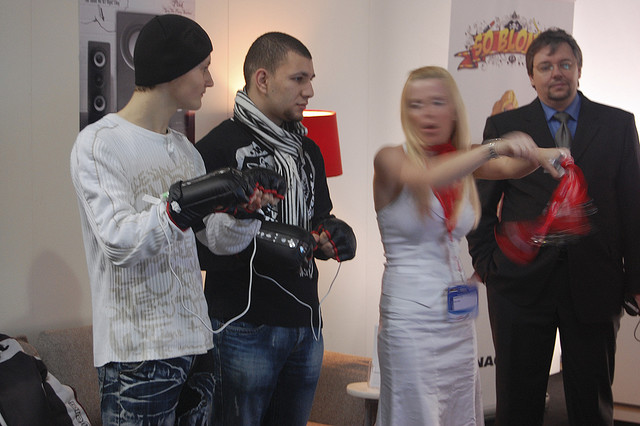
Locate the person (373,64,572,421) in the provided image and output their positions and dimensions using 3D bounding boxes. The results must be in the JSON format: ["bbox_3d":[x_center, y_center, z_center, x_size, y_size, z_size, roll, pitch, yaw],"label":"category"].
[{"bbox_3d":[0.534,0.157,2.239,0.591,1.556,0.300,-1,5,5],"label":"person"}]

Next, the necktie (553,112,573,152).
[{"bbox_3d":[1.280,-0.426,2.721,0.085,0.211,0.054,4,-8,16],"label":"necktie"}]

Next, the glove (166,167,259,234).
[{"bbox_3d":[-0.391,-0.049,1.921,0.204,0.133,0.278,-17,7,43],"label":"glove"}]

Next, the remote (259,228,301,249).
[{"bbox_3d":[-0.173,0.110,2.161,0.133,0.033,0.039,21,5,18],"label":"remote"}]

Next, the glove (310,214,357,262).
[{"bbox_3d":[0.064,0.117,2.381,0.195,0.177,0.146,-1,5,2],"label":"glove"}]

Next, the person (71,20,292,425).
[{"bbox_3d":[-0.568,0.013,1.965,0.645,1.499,0.327,-5,6,-28],"label":"person"}]
